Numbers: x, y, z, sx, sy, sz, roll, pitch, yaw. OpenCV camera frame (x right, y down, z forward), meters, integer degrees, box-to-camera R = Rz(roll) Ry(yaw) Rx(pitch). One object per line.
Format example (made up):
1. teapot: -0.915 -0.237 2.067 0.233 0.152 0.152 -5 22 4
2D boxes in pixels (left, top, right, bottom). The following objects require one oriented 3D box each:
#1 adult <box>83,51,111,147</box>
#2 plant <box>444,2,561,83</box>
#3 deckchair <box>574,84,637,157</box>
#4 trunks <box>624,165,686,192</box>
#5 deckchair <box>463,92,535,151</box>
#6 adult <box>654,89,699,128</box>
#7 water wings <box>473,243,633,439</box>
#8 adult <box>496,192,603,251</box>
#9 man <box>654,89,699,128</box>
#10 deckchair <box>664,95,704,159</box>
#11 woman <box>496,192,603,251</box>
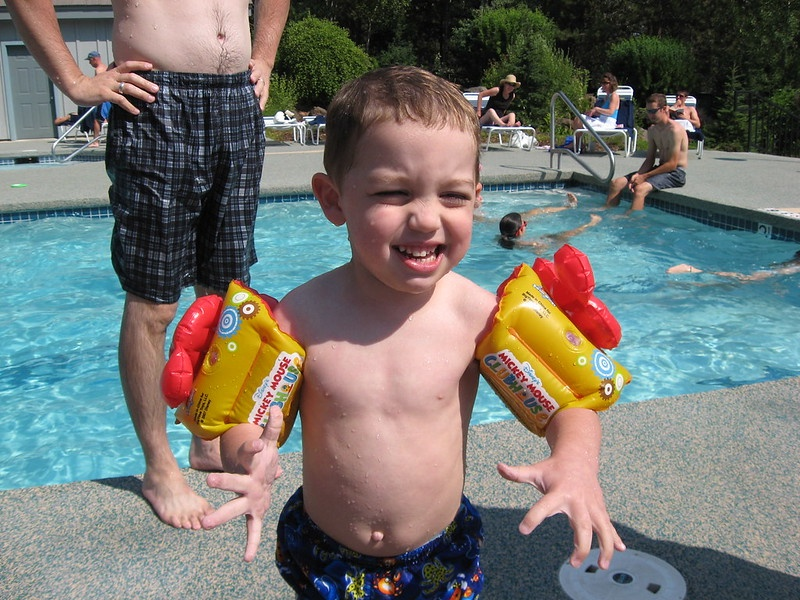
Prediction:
1. adult: -7.132 -4.837 14.733 0.724 2.077 0.607 1 31 -29
2. plant: 4.806 -12.148 28.659 4.978 3.468 4.967 -5 31 -15
3. deckchair: 4.653 -4.060 14.254 1.530 1.337 0.928 0 12 23
4. trunks: 3.755 -1.696 8.699 0.516 0.182 0.431 -12 18 4
5. deckchair: 2.782 -4.322 15.119 0.964 1.032 1.688 4 7 14
6. adult: 6.617 -4.422 14.565 0.729 1.066 0.625 0 -5 -1
7. water wings: 0.367 0.156 1.896 0.512 0.510 0.169 -40 -4 -23
8. adult: 1.829 -0.771 7.427 1.179 0.393 0.777 -24 35 -16
9. man: 6.639 -4.419 14.580 0.725 1.077 0.602 0 -5 1
10. deckchair: 6.563 -4.147 14.376 0.867 1.409 1.217 1 8 17
11. woman: 1.806 -0.808 7.450 1.179 0.393 0.777 -24 35 -16
